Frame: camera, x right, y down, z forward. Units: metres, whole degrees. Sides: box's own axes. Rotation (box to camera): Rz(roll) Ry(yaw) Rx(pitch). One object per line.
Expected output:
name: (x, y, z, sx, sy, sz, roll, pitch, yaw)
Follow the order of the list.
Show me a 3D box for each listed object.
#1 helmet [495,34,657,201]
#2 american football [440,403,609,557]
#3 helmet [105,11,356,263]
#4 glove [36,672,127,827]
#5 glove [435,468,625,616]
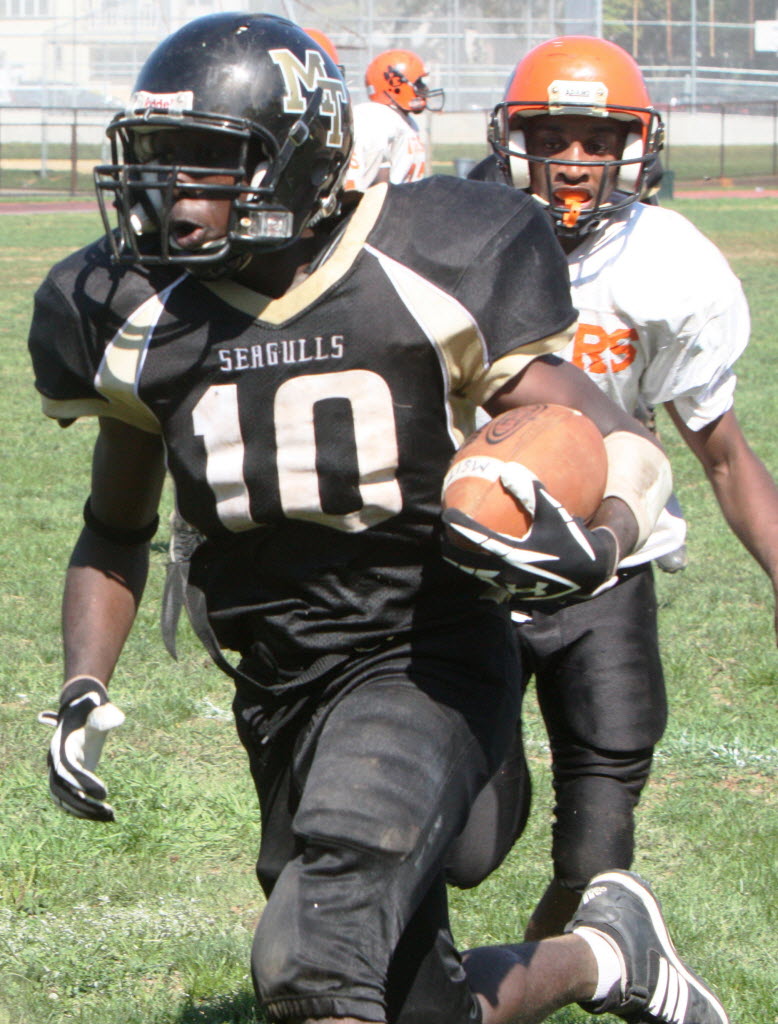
helmet: (0.415, -0.900, 2.435, 0.402, 0.294, 0.424, 1, 2, 4)
american football: (0.160, -0.043, 1.231, 0.167, 0.124, 0.230, 34, 31, 28)
helmet: (-0.225, -0.510, 1.495, 0.339, 0.298, 0.434, 10, 17, 40)
glove: (-0.473, 0.319, 1.546, 0.103, 0.120, 0.280, 0, 36, -22)
glove: (0.148, 0.037, 1.132, 0.184, 0.127, 0.086, 35, 3, 14)
